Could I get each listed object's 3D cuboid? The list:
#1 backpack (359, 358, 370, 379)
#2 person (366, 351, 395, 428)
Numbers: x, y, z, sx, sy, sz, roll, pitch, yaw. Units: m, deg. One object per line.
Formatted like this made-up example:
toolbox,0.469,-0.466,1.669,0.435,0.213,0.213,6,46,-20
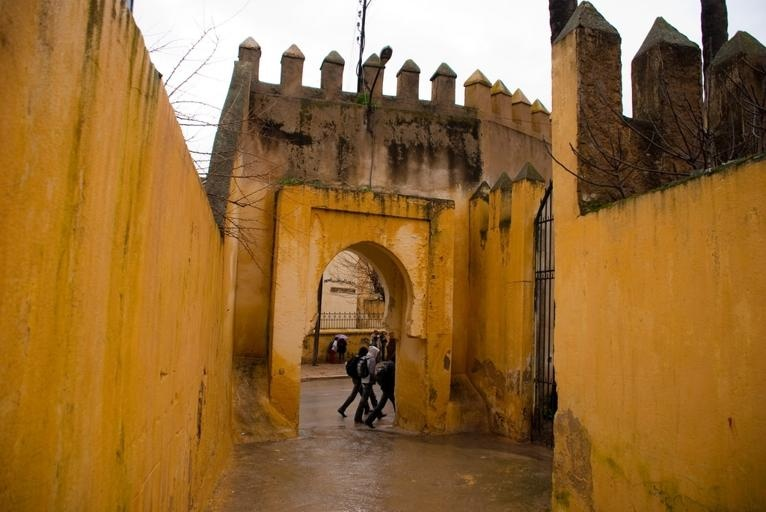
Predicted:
backpack,-0.285,1.741,11.031,0.179,0.278,0.257,2,-3,14
person,-0.025,2.118,11.221,0.459,0.960,1.538,2,-2,1
